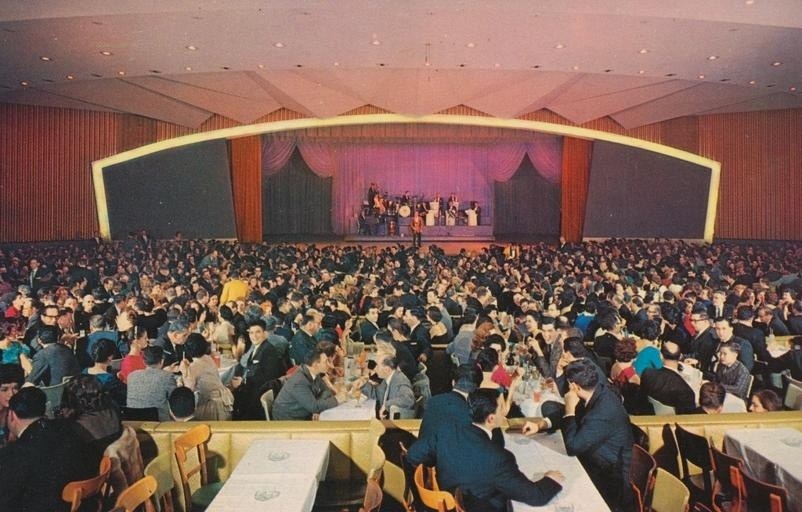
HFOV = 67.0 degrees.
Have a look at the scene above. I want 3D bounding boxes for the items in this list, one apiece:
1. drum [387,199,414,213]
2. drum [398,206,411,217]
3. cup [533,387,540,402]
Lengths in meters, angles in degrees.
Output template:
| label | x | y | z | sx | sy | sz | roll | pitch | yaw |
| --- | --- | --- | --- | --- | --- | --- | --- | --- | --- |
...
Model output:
| label | x | y | z | sx | sy | sz | roll | pitch | yaw |
| --- | --- | --- | --- | --- | --- | --- | --- | --- | --- |
| drum | -0.084 | -1.846 | 23.198 | 0.598 | 0.686 | 0.687 | 1 | 3 | -2 |
| drum | 0.136 | -1.678 | 22.916 | 0.417 | 0.410 | 0.171 | -2 | -3 | 6 |
| cup | 1.672 | 1.724 | 7.470 | 0.106 | 0.163 | 0.101 | -1 | 2 | 0 |
